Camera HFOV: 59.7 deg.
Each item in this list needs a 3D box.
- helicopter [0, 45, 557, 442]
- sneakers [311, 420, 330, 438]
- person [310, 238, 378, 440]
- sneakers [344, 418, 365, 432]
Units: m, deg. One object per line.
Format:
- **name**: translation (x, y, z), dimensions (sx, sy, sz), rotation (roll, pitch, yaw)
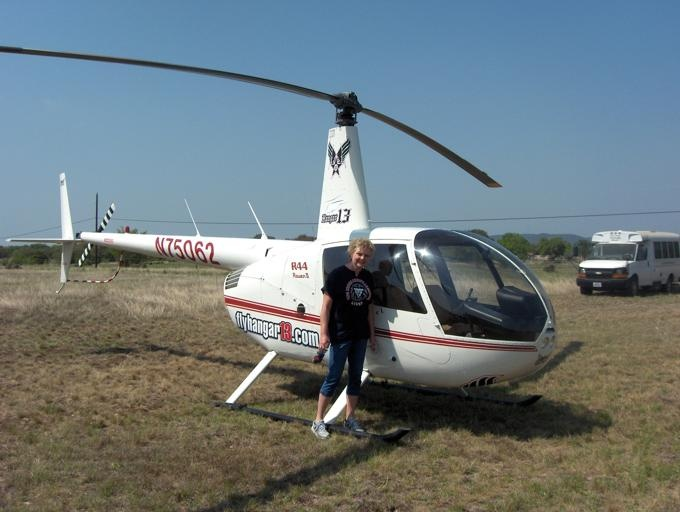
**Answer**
- **helicopter**: translation (0.032, 0.241, 8.722), dimensions (5.640, 2.152, 5.681), rotation (0, 1, 34)
- **sneakers**: translation (-0.251, 2.204, 7.525), dimensions (0.132, 0.122, 0.296), rotation (2, -5, -34)
- **person**: translation (0.034, 1.038, 7.443), dimensions (0.879, 2.529, 0.486), rotation (-3, 12, -7)
- **sneakers**: translation (0.183, 2.157, 7.566), dimensions (0.283, 0.113, 0.116), rotation (0, -1, 40)
